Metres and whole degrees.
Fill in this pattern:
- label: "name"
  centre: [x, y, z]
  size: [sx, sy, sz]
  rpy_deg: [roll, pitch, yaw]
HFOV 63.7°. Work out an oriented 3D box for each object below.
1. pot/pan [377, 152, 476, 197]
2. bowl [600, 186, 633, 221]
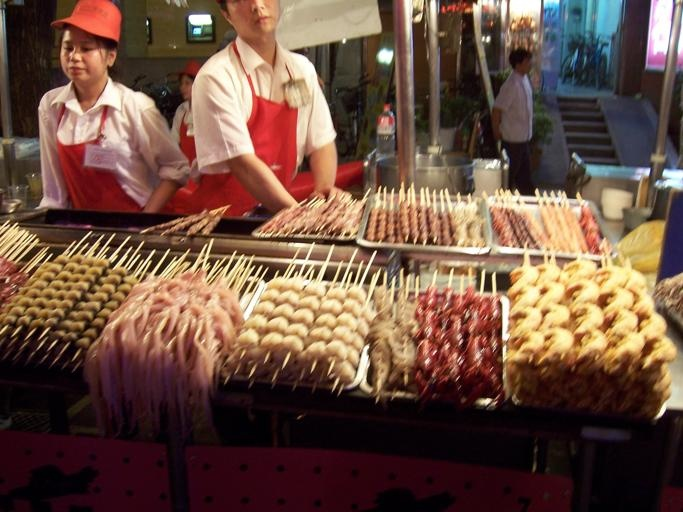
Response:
- label: "pot/pan"
  centre: [0.690, -0.588, 4.077]
  size: [0.432, 0.191, 0.492]
  rpy_deg: [0, 13, 2]
- label: "bowl"
  centre: [2.088, -0.405, 4.182]
  size: [0.215, 0.210, 0.229]
  rpy_deg: [3, 9, -1]
